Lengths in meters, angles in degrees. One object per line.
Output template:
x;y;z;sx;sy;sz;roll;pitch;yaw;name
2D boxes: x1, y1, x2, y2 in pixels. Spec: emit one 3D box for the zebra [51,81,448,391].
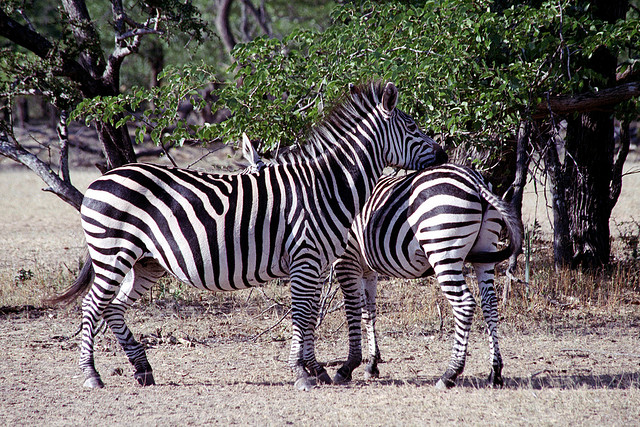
-0.919;0.411;13.954;4.008;3.583;1.022;1;-4;0;zebra
